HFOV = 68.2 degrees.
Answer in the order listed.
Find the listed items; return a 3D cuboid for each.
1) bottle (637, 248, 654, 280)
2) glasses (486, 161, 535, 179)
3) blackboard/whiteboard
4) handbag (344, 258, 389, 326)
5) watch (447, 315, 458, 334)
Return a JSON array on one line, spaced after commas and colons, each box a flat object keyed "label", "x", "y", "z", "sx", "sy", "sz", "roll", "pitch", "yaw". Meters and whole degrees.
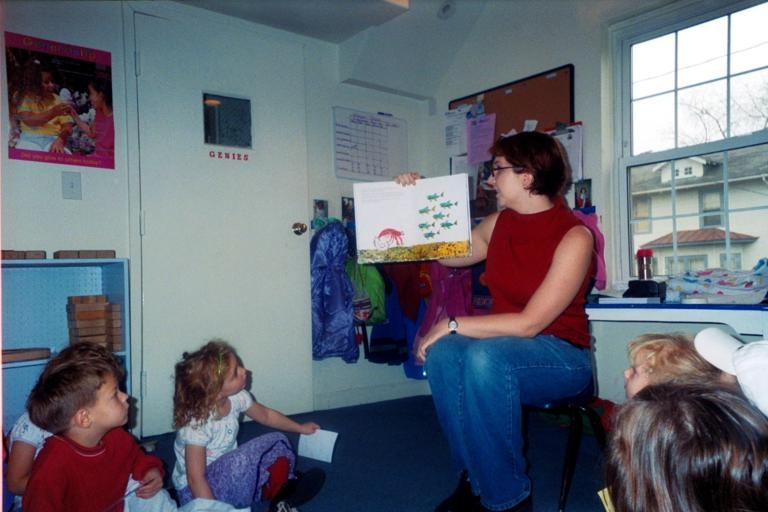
[{"label": "bottle", "x": 1.586, "y": 0.043, "z": 3.453, "sx": 0.083, "sy": 0.177, "sz": 0.133, "roll": 0, "pitch": 6, "yaw": 17}, {"label": "glasses", "x": 0.594, "y": -0.403, "z": 2.635, "sx": 0.151, "sy": 0.046, "sz": 0.147, "roll": 3, "pitch": 9, "yaw": -5}, {"label": "blackboard/whiteboard", "x": -0.130, "y": -0.836, "z": 4.224, "sx": 0.825, "sy": 0.594, "sz": 0.090, "roll": -1, "pitch": 1, "yaw": -33}, {"label": "handbag", "x": -0.123, "y": 0.233, "z": 3.875, "sx": 0.253, "sy": 0.448, "sz": 0.137, "roll": -2, "pitch": 6, "yaw": -3}, {"label": "watch", "x": 0.303, "y": 0.318, "z": 2.591, "sx": 0.045, "sy": 0.068, "sz": 0.067, "roll": 2, "pitch": -4, "yaw": 3}]
